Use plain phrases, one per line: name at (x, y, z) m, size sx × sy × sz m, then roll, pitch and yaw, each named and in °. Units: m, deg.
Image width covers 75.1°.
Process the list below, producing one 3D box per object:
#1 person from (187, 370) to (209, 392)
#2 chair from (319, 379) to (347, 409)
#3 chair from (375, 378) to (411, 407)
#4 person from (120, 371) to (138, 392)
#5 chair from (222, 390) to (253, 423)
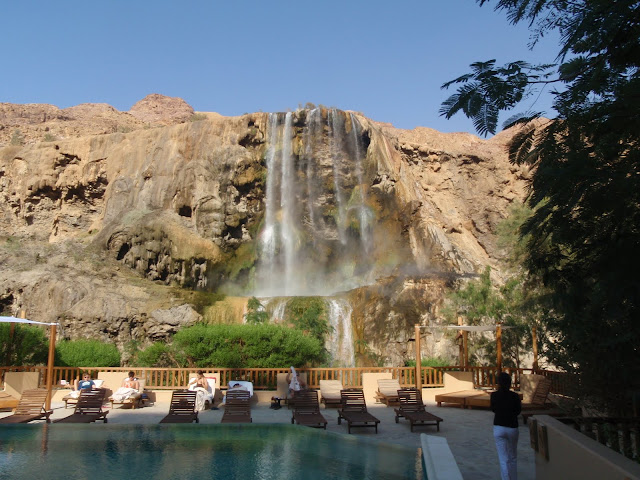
person at (-4.455, 5.346, 15.734) m, size 0.877 × 0.912 × 0.732 m, roll -4°, pitch -17°, yaw 22°
chair at (0.503, 5.970, 16.114) m, size 1.012 × 0.896 × 1.245 m, roll 1°, pitch -16°, yaw -6°
chair at (2.927, 5.949, 16.352) m, size 0.952 × 0.960 × 1.745 m, roll 2°, pitch -21°, yaw -7°
person at (-7.098, 5.277, 15.610) m, size 0.562 × 0.673 × 0.783 m, roll 1°, pitch -9°, yaw -12°
chair at (-2.629, 5.503, 13.195) m, size 0.733 × 0.563 × 1.275 m, roll 2°, pitch 11°, yaw -6°
